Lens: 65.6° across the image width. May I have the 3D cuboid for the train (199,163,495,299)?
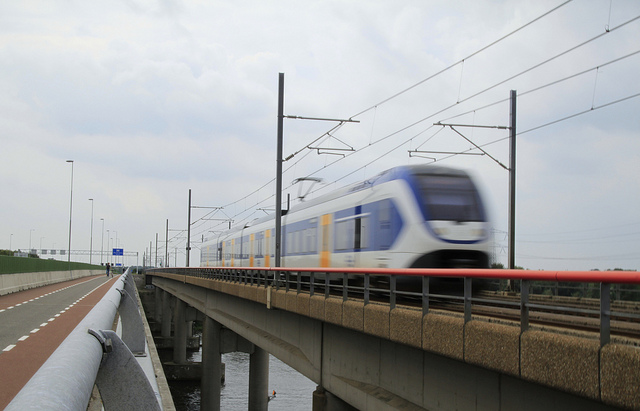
[{"bbox_3d":[0.242,1.703,23.961,2.633,3.714,22.874,7,-8,-18],"label":"train"}]
